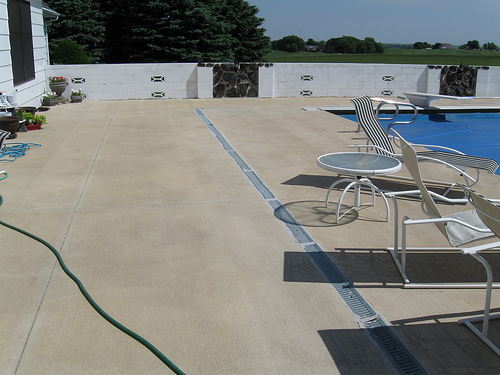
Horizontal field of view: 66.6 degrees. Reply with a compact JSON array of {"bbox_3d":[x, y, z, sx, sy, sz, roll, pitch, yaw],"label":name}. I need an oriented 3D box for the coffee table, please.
[{"bbox_3d":[1.263,0.001,4.470,0.966,0.579,0.952,15,20,35],"label":"coffee table"}]

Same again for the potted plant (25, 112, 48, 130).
[{"bbox_3d":[-5.031,-1.536,8.954,0.504,0.254,0.451,-11,30,-30],"label":"potted plant"}]

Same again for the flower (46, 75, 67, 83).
[{"bbox_3d":[-6.718,-3.789,13.282,0.540,0.183,0.468,2,15,2],"label":"flower"}]
